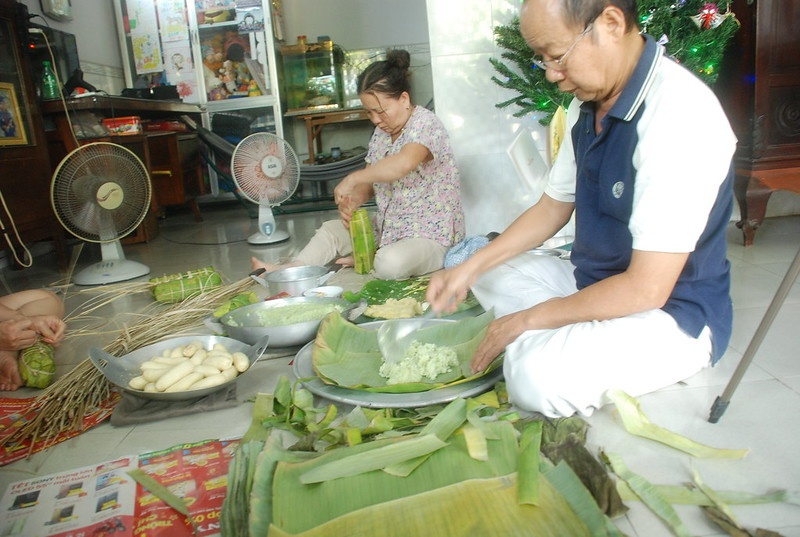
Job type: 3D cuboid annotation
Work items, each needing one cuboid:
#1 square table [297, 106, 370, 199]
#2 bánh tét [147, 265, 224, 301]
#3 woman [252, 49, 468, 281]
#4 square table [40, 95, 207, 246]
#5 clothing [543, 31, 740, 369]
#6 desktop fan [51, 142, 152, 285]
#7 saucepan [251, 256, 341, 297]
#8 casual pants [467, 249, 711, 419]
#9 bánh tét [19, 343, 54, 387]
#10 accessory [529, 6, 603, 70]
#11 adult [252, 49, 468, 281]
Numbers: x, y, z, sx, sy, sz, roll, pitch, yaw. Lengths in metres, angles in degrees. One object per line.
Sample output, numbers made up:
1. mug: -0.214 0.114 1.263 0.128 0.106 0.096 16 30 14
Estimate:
1. square table: -0.601 -1.516 7.237 1.093 0.955 1.055 -3 22 6
2. bánh tét: -1.197 0.085 3.251 0.308 0.108 0.188 -16 37 -21
3. woman: -0.302 -0.607 3.522 1.304 1.292 1.016 1 17 14
4. square table: -2.445 -0.994 5.685 0.652 1.199 1.987 9 16 9
5. clothing: 0.836 -0.211 2.017 0.684 1.096 0.474 11 30 30
6. desktop fan: -1.996 -0.381 3.945 0.652 0.966 0.380 -19 29 -28
7. saucepan: -0.570 0.057 3.074 0.293 0.100 0.221 -9 12 1
8. casual pants: 0.679 0.262 2.034 0.595 0.216 0.742 -18 30 -13
9. bánh tét: -1.518 0.402 2.428 0.096 0.179 0.137 -11 -13 41
10. accessory: 0.511 -0.722 1.826 0.042 0.140 0.136 15 21 -36
11. adult: -0.286 -0.586 3.503 1.304 1.260 0.986 -2 14 7
